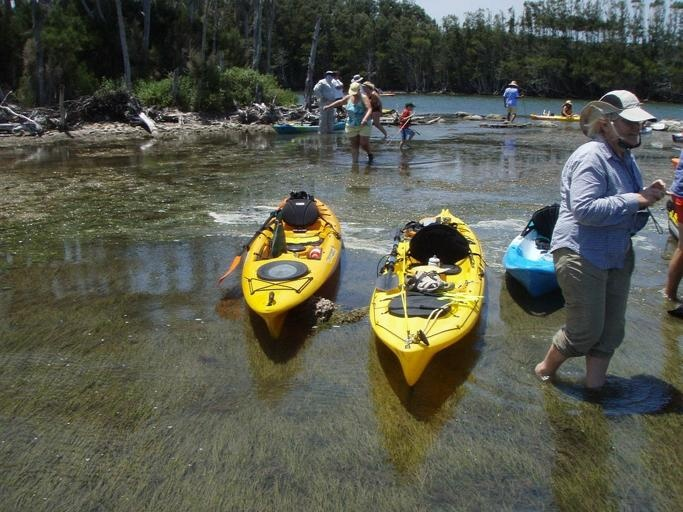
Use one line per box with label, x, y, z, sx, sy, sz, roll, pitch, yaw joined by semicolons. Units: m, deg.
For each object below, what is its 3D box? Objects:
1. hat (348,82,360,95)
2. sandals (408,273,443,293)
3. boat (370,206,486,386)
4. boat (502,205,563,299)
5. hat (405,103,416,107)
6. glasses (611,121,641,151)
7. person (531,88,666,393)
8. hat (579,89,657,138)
hat;0.310;-4.039;12.497;0.262;0.298;0.487;-1;17;0
sandals;0.875;0.270;5.295;0.361;0.141;0.265;1;17;5
boat;0.910;0.453;5.400;0.705;0.470;1.978;0;30;16
boat;2.341;-0.040;6.432;0.578;0.495;1.876;-2;21;21
hat;2.044;-4.457;15.436;0.352;0.142;0.488;0;23;9
glasses;2.149;-0.887;3.944;0.141;0.249;0.185;20;22;40
person;2.022;-0.016;4.079;0.658;2.451;0.636;-4;18;-11
hat;2.118;-1.087;3.994;0.417;0.249;0.491;-1;2;-40
